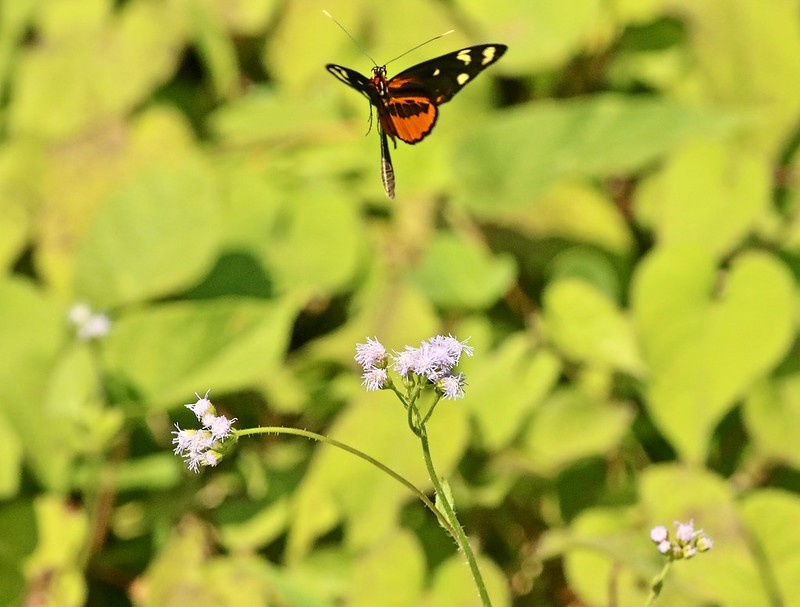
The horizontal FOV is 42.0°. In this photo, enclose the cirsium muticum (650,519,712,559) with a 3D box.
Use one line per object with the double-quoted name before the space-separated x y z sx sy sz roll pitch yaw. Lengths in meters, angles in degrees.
"cirsium muticum" 0.505 0.414 1.856 0.085 0.093 0.047 -11 -65 -11
